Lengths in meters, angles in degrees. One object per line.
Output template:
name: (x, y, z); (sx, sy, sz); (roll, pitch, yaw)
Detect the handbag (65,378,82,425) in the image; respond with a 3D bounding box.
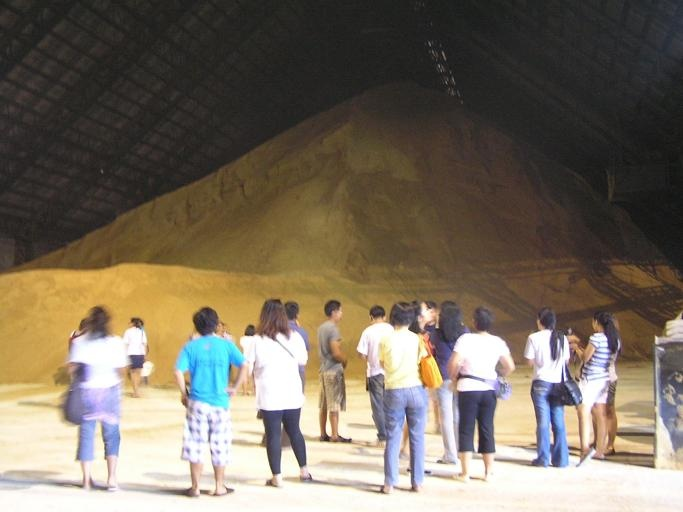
handbag: (-3.487, 1.901, 8.326); (0.256, 0.536, 0.125); (-6, -7, 18)

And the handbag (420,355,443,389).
handbag: (1.205, 1.543, 8.620); (0.215, 0.497, 0.341); (-17, 3, -21)

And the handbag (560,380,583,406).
handbag: (3.368, 1.994, 9.334); (0.262, 0.376, 0.145); (6, -42, -7)
